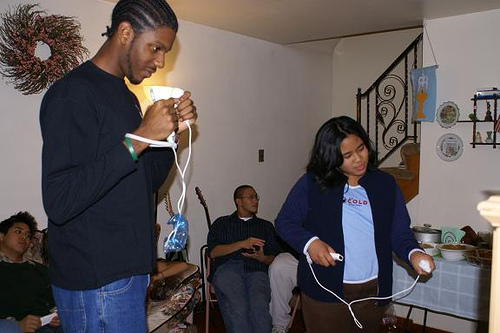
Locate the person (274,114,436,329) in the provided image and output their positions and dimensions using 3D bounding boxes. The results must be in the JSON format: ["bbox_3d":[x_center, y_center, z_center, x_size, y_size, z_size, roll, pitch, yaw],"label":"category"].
[{"bbox_3d":[0.640,0.372,2.462,0.944,1.396,0.362,0,5,3],"label":"person"}]

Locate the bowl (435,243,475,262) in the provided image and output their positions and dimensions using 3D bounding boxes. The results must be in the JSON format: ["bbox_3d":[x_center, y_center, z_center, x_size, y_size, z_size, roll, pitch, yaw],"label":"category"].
[{"bbox_3d":[1.607,0.679,2.953,0.161,0.062,0.166,-3,-1,0],"label":"bowl"}]

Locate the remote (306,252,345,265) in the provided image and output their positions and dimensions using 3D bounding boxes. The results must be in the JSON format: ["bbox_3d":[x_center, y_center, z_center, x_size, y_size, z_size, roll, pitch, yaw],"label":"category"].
[{"bbox_3d":[0.493,0.565,2.387,0.085,0.090,0.331,2,-11,-37],"label":"remote"}]

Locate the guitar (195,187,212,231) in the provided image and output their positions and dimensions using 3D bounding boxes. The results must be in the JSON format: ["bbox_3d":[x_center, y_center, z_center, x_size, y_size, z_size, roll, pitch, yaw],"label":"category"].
[{"bbox_3d":[-0.561,0.502,4.432,0.062,0.551,0.078,-26,19,-22],"label":"guitar"}]

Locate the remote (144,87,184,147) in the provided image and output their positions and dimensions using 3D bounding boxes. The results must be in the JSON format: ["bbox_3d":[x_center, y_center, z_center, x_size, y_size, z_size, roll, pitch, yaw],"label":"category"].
[{"bbox_3d":[-0.468,-0.258,1.989,0.224,0.302,0.088,5,0,-15],"label":"remote"}]

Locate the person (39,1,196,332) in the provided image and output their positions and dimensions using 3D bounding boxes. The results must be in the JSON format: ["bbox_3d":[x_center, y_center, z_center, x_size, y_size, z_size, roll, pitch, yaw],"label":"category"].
[{"bbox_3d":[-0.624,-0.006,1.806,0.659,1.575,0.322,-2,5,-30],"label":"person"}]

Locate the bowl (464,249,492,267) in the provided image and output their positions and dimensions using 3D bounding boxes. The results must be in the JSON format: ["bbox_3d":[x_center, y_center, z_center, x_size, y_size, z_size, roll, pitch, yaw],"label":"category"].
[{"bbox_3d":[1.716,0.682,2.846,0.173,0.095,0.312,3,6,32],"label":"bowl"}]

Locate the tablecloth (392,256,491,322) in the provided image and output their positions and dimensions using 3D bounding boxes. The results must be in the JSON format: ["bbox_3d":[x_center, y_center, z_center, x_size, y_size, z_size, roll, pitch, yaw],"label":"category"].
[{"bbox_3d":[1.458,0.783,2.884,0.556,0.239,0.567,6,4,35],"label":"tablecloth"}]

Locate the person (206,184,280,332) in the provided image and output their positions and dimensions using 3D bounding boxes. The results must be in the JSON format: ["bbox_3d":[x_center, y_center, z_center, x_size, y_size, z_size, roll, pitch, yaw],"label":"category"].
[{"bbox_3d":[-0.086,0.870,3.649,0.742,1.274,0.851,1,5,5],"label":"person"}]

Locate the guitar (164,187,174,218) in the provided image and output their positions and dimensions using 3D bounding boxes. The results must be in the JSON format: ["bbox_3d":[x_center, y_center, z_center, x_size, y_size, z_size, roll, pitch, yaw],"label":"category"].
[{"bbox_3d":[-0.869,0.387,4.004,0.088,0.294,0.405,-1,5,-13],"label":"guitar"}]

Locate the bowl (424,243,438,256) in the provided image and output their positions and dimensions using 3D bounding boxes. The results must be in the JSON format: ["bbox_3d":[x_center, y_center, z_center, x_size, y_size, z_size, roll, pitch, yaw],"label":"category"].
[{"bbox_3d":[1.491,0.676,3.111,0.091,0.072,0.093,-1,0,0],"label":"bowl"}]

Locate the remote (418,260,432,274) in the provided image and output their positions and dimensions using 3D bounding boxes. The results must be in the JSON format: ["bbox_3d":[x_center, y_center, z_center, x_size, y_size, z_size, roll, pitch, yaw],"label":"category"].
[{"bbox_3d":[1.069,0.609,2.291,0.049,0.069,0.023,-29,-31,5],"label":"remote"}]
